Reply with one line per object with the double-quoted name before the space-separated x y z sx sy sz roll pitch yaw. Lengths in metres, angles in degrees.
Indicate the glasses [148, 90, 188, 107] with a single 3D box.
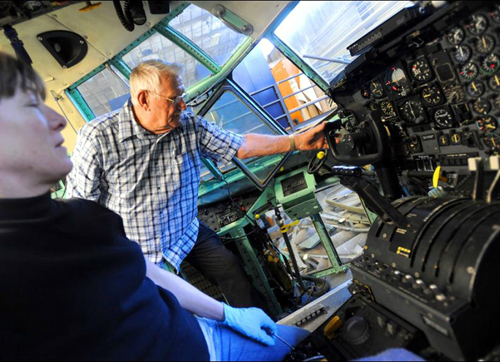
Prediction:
"glasses" -0.686 -0.703 2.526 0.167 0.048 0.158 17 10 4
